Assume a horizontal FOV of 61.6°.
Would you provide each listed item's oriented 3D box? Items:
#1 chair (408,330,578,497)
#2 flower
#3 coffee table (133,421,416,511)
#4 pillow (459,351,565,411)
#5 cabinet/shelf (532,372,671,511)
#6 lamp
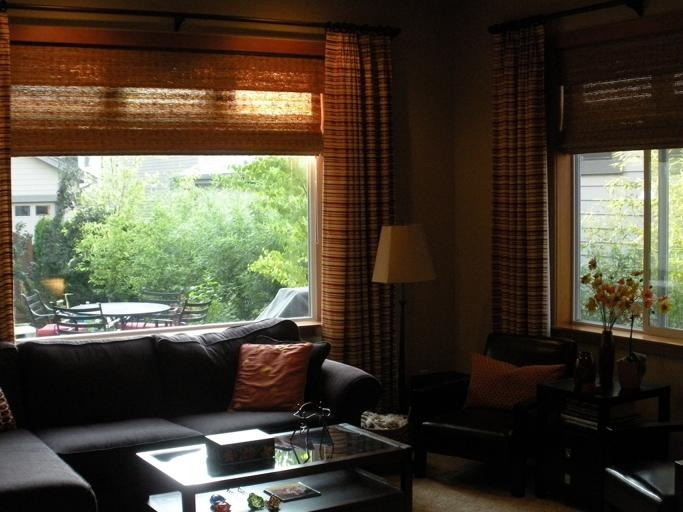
[{"bbox_3d":[1.147,1.093,4.098,1.141,0.880,1.089,-5,-3,30],"label":"chair"},{"bbox_3d":[1.915,0.352,3.966,0.704,0.638,0.638,-4,-6,44],"label":"flower"},{"bbox_3d":[-0.337,1.244,3.182,1.441,0.357,0.534,-1,3,-22],"label":"coffee table"},{"bbox_3d":[1.189,0.895,4.101,0.564,0.364,0.165,6,-6,29],"label":"pillow"},{"bbox_3d":[1.701,1.176,3.750,0.684,0.780,0.480,-2,4,-27],"label":"cabinet/shelf"},{"bbox_3d":[0.499,0.562,4.645,0.570,1.670,0.531,-2,5,-3],"label":"lamp"}]
